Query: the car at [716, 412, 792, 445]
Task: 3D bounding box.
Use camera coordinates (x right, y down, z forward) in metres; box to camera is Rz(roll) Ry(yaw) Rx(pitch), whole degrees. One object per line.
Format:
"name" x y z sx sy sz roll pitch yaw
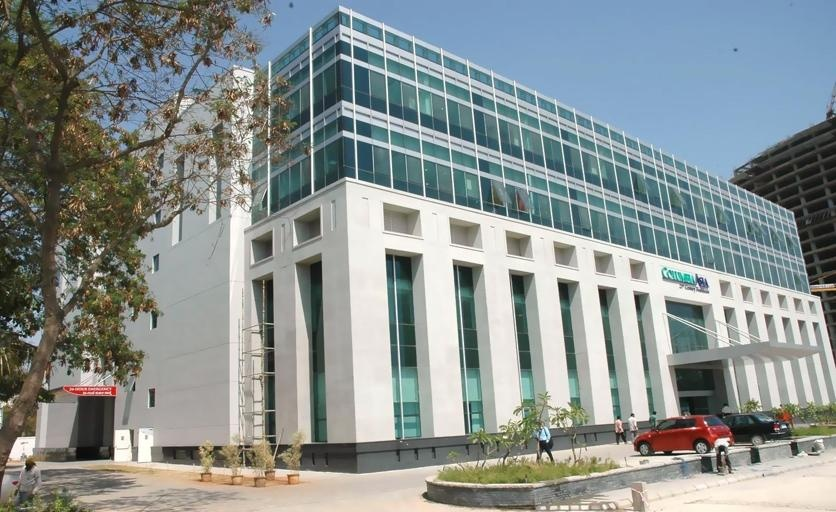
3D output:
"car" 21.801 11.323 39.999 4.378 1.328 1.998 -9 -16 41

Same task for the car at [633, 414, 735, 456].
"car" 16.518 10.831 37.771 5.068 1.958 2.922 -9 -17 39
